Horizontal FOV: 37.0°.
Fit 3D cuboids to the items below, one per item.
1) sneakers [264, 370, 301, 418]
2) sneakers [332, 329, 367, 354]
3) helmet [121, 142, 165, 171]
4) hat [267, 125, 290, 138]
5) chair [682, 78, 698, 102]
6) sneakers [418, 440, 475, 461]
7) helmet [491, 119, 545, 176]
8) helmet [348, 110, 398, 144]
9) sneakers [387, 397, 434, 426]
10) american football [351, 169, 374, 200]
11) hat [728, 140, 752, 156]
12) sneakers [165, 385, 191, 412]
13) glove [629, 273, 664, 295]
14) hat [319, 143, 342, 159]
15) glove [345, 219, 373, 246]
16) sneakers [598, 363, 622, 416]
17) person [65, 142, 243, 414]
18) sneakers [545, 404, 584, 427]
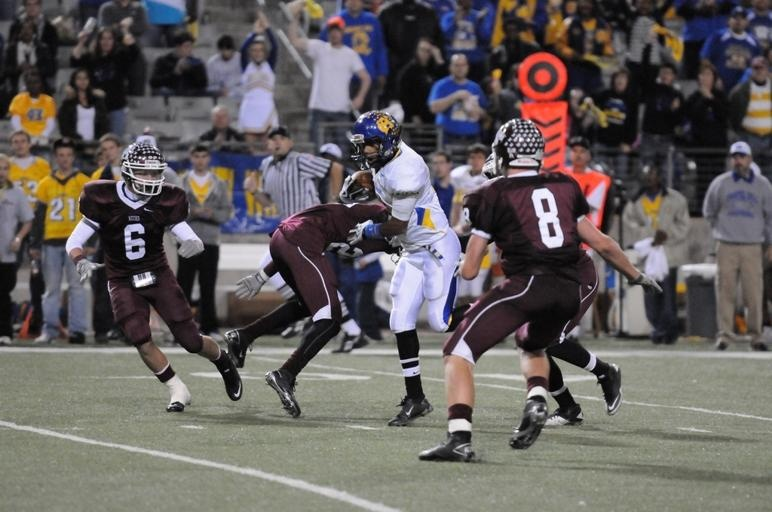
[{"bbox_3d":[-0.853,1.174,9.844,0.280,0.395,0.259,1,-1,11],"label":"sneakers"},{"bbox_3d":[-0.335,1.054,14.229,0.586,0.254,0.180,-8,-2,-37],"label":"sneakers"},{"bbox_3d":[-2.116,-0.866,10.102,0.367,0.260,0.257,1,-1,-14],"label":"helmet"},{"bbox_3d":[-1.246,-1.436,13.370,0.199,0.105,0.279,-1,4,1],"label":"hat"},{"bbox_3d":[3.602,-1.983,13.735,0.130,0.126,0.396,22,1,24],"label":"chair"},{"bbox_3d":[0.461,1.427,8.464,0.436,0.177,0.152,2,-3,10],"label":"sneakers"},{"bbox_3d":[1.032,-0.839,8.996,0.410,0.437,0.505,-2,14,-25],"label":"helmet"},{"bbox_3d":[-0.091,-1.112,9.924,0.349,0.314,0.342,2,-1,-45],"label":"helmet"},{"bbox_3d":[0.211,1.331,9.766,0.420,0.209,0.153,-26,9,-22],"label":"sneakers"},{"bbox_3d":[-0.172,-0.640,10.423,0.197,0.256,0.122,4,11,26],"label":"american football"},{"bbox_3d":[4.241,-1.292,13.761,0.204,0.147,0.304,-4,-10,37],"label":"hat"},{"bbox_3d":[-1.790,1.241,10.025,0.166,0.204,0.313,1,-1,1],"label":"sneakers"},{"bbox_3d":[2.606,0.269,11.453,0.357,0.109,0.231,19,34,-14],"label":"glove"},{"bbox_3d":[-0.653,-1.317,14.643,0.326,0.164,0.210,17,5,-36],"label":"hat"},{"bbox_3d":[-0.250,-0.190,10.281,0.078,0.246,0.149,35,28,-27],"label":"glove"},{"bbox_3d":[1.933,1.131,9.941,0.209,0.473,0.160,-7,2,-4],"label":"sneakers"},{"bbox_3d":[-2.052,0.163,10.133,1.456,2.348,0.565,1,-1,-14],"label":"person"},{"bbox_3d":[1.536,1.373,9.895,0.428,0.178,0.142,-1,-3,0],"label":"sneakers"}]
